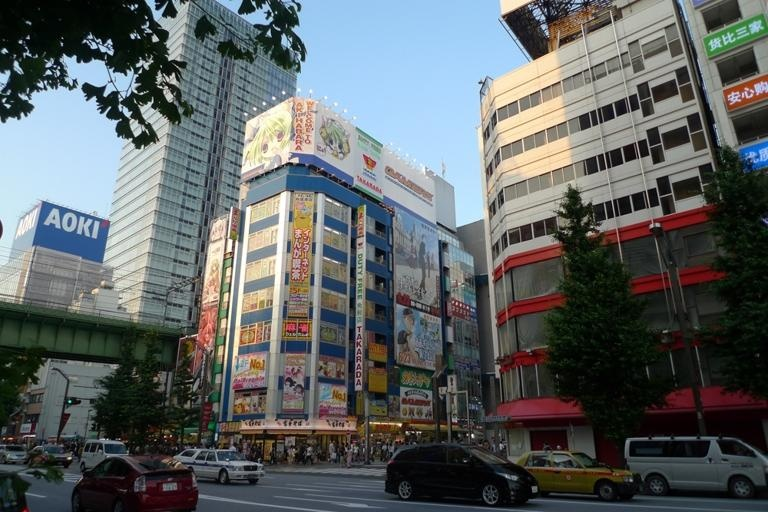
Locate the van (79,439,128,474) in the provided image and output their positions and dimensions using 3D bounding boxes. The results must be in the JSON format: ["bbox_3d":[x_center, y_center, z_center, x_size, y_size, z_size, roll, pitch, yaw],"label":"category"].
[{"bbox_3d":[-17.154,12.207,30.284,2.975,1.696,1.850,-14,-22,31],"label":"van"}]

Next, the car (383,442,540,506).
[{"bbox_3d":[2.823,7.903,18.538,5.248,1.918,2.378,-12,-24,27],"label":"car"}]
